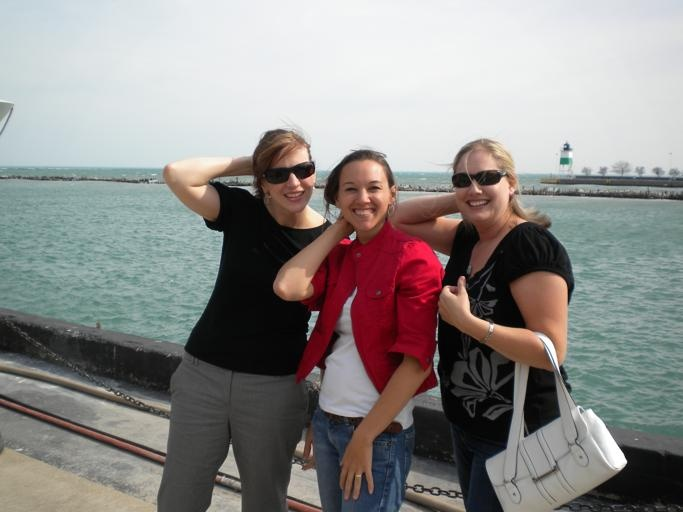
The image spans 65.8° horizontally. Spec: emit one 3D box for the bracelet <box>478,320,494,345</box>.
[{"bbox_3d":[0.738,0.382,2.657,0.087,0.104,0.045,-5,-14,41],"label":"bracelet"}]
